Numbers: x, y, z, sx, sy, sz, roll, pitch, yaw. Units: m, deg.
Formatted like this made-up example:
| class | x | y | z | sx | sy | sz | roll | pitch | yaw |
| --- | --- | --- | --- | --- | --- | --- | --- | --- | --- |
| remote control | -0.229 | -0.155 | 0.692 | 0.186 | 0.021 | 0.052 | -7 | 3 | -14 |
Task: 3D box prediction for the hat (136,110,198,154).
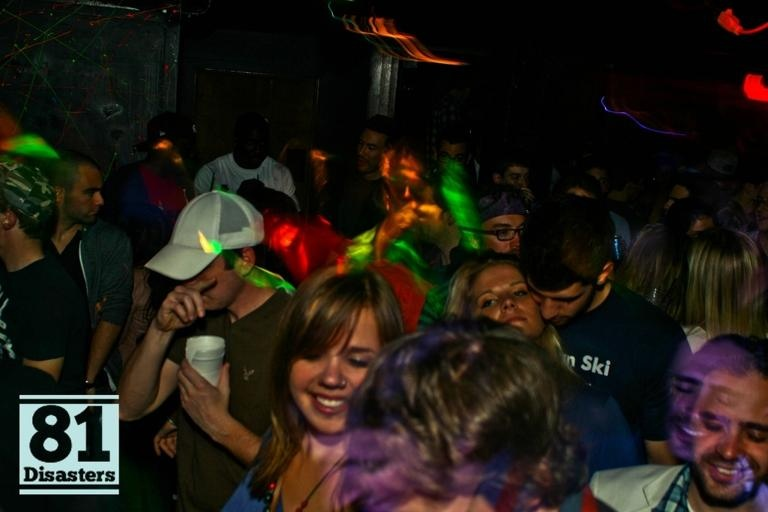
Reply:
| class | x | y | z | sx | sy | sz | roll | pitch | yaw |
| --- | --- | --- | --- | --- | --- | --- | --- | --- | --- |
| hat | -2.271 | -1.285 | 6.691 | 0.565 | 0.291 | 0.401 | -8 | 15 | -25 |
